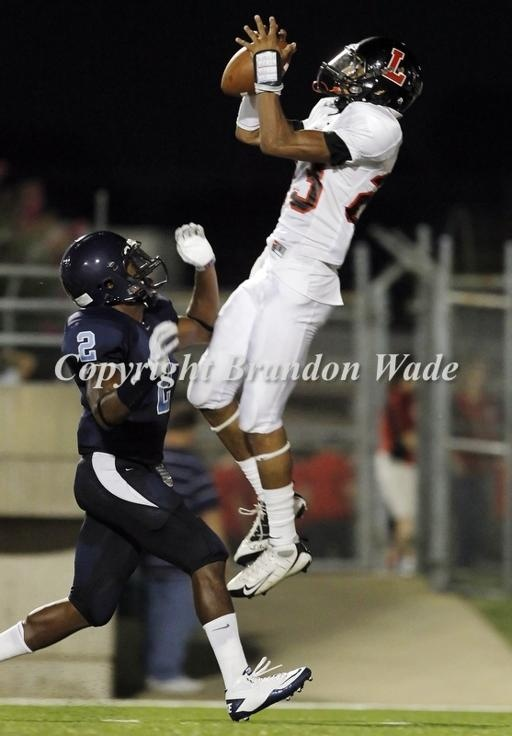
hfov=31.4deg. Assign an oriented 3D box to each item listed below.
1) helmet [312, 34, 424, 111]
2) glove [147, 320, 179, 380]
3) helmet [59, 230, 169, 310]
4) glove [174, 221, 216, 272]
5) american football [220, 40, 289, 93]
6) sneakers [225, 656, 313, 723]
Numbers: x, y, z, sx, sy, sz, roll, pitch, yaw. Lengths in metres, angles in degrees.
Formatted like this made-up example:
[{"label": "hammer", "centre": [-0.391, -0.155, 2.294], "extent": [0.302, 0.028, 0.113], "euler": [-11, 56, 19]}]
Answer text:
[{"label": "helmet", "centre": [0.415, -1.040, 3.292], "extent": [0.381, 0.231, 0.255], "euler": [14, 19, 4]}, {"label": "glove", "centre": [-0.307, -0.053, 2.835], "extent": [0.128, 0.161, 0.050], "euler": [24, -17, -30]}, {"label": "helmet", "centre": [-0.467, -0.350, 3.234], "extent": [0.400, 0.241, 0.260], "euler": [-5, 6, -3]}, {"label": "glove", "centre": [-0.228, -0.444, 3.337], "extent": [0.144, 0.167, 0.089], "euler": [-26, 0, -36]}, {"label": "american football", "centre": [-0.005, -1.088, 3.401], "extent": [0.262, 0.174, 0.192], "euler": [19, 20, 17]}, {"label": "sneakers", "centre": [0.054, 1.074, 3.022], "extent": [0.216, 0.222, 0.297], "euler": [5, 14, 20]}]
